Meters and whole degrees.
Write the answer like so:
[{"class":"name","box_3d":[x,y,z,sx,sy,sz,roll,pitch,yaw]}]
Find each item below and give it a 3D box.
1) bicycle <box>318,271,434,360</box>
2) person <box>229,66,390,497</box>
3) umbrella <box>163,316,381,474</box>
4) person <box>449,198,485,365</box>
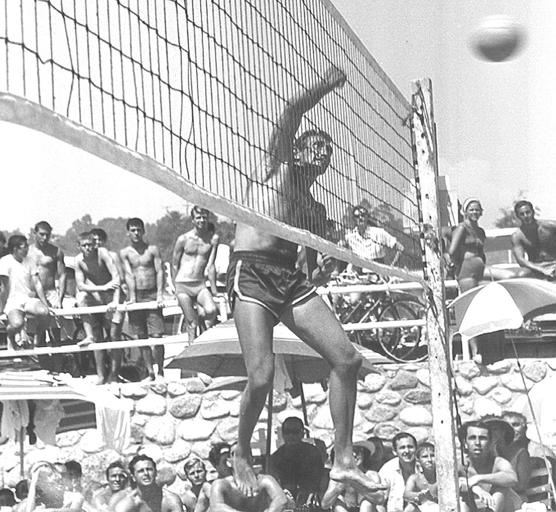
[{"class":"bicycle","box_3d":[1.204,0.751,10.193,1.292,1.044,0.756,-3,-6,-10]},{"class":"person","box_3d":[0.102,0.057,4.573,0.746,2.389,0.442,1,-14,-5]},{"class":"umbrella","box_3d":[-0.193,1.242,8.558,1.176,1.671,1.516,7,-8,-31]},{"class":"person","box_3d":[2.243,0.131,9.960,0.334,2.244,0.374,2,-3,13]}]
